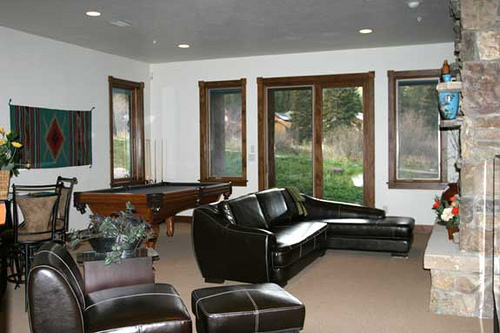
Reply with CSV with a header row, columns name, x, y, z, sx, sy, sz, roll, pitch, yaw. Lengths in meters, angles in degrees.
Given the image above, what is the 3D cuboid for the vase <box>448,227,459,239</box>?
name,x,y,z,sx,sy,sz,roll,pitch,yaw
vase,2.338,0.758,4.516,0.078,0.134,0.133,-2,5,-15

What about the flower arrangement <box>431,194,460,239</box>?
name,x,y,z,sx,sy,sz,roll,pitch,yaw
flower arrangement,2.325,0.578,4.697,0.279,0.467,0.506,2,6,26

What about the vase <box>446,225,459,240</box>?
name,x,y,z,sx,sy,sz,roll,pitch,yaw
vase,2.323,0.752,4.574,0.149,0.234,0.149,2,3,28

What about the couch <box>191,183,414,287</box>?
name,x,y,z,sx,sy,sz,roll,pitch,yaw
couch,0.583,0.895,5.462,2.822,1.009,1.358,-4,6,-34

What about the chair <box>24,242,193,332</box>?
name,x,y,z,sx,sy,sz,roll,pitch,yaw
chair,-1.017,0.884,2.913,1.013,0.580,0.559,-2,5,-17

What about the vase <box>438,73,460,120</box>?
name,x,y,z,sx,sy,sz,roll,pitch,yaw
vase,2.211,-0.670,4.394,0.206,0.302,0.172,2,6,29
